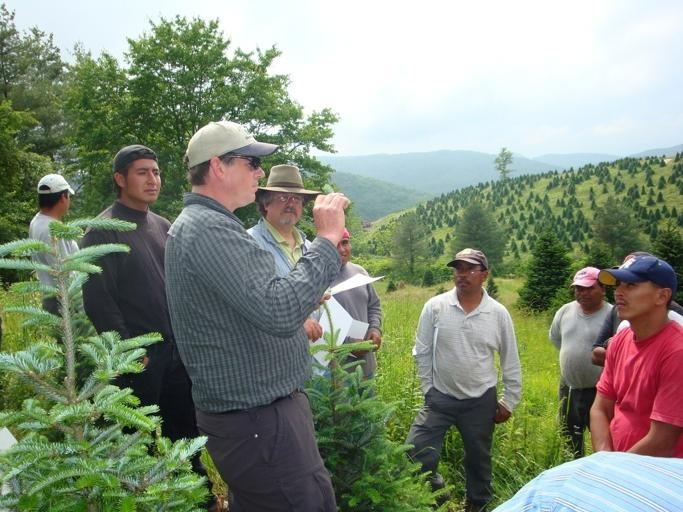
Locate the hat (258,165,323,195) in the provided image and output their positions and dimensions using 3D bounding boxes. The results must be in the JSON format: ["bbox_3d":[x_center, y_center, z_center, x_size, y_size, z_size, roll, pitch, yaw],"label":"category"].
[{"bbox_3d":[-0.597,-0.782,5.774,0.527,0.230,0.592,4,2,-11],"label":"hat"}]

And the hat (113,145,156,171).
[{"bbox_3d":[-1.932,-0.847,5.035,0.312,0.191,0.309,-9,6,0],"label":"hat"}]

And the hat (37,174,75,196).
[{"bbox_3d":[-3.270,-0.801,6.198,0.257,0.205,0.369,5,12,20],"label":"hat"}]

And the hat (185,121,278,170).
[{"bbox_3d":[-0.731,-0.742,3.531,0.472,0.245,0.301,-6,19,-10],"label":"hat"}]

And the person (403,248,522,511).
[{"bbox_3d":[1.243,1.301,5.715,1.059,2.642,0.823,-3,5,3],"label":"person"}]
